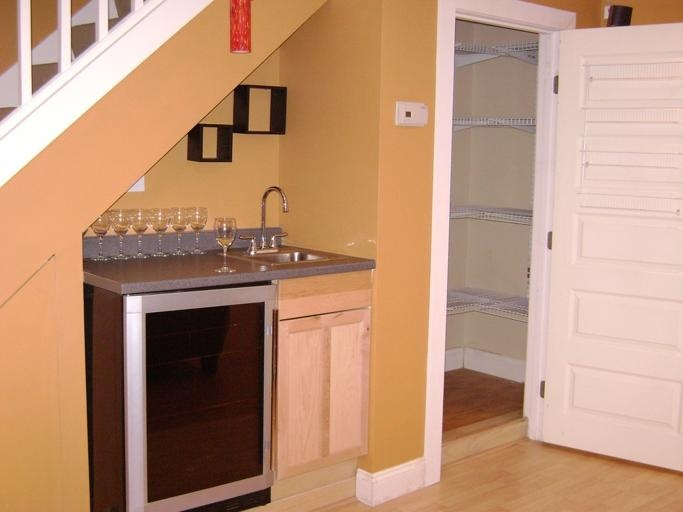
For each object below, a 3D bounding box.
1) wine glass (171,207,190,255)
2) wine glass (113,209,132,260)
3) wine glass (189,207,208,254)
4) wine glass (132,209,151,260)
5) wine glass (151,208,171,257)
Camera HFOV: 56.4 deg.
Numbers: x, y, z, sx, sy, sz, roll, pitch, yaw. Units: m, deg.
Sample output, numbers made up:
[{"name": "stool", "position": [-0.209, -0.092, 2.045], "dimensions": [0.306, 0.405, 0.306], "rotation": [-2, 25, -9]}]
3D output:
[{"name": "wine glass", "position": [-0.864, -0.131, 3.409], "dimensions": [0.082, 0.267, 0.211], "rotation": [-2, 13, -15]}, {"name": "wine glass", "position": [-1.128, -0.117, 3.276], "dimensions": [0.089, 0.255, 0.178], "rotation": [-3, 14, -20]}, {"name": "wine glass", "position": [-0.780, -0.144, 3.490], "dimensions": [0.091, 0.273, 0.280], "rotation": [-1, 13, -11]}, {"name": "wine glass", "position": [-1.048, -0.122, 3.329], "dimensions": [0.085, 0.258, 0.194], "rotation": [-3, 14, -18]}, {"name": "wine glass", "position": [-0.960, -0.130, 3.383], "dimensions": [0.097, 0.262, 0.223], "rotation": [-2, 14, -15]}]
